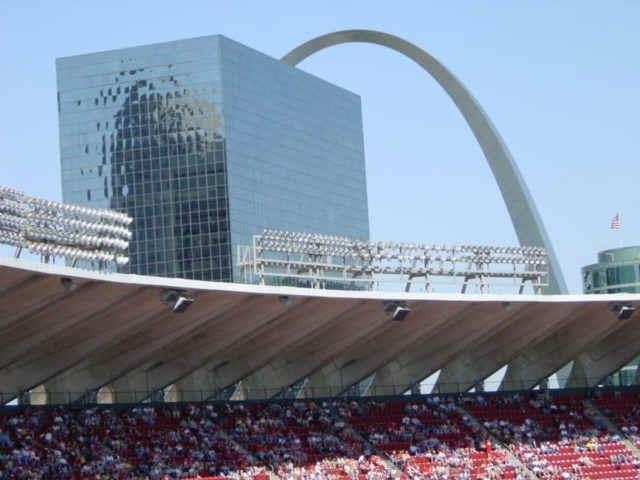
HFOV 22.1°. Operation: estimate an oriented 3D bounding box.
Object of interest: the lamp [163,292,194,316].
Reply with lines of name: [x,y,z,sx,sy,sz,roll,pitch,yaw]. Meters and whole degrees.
lamp: [-8.676,4.023,102.420,1.453,0.660,1.652,11,-7,-31]
